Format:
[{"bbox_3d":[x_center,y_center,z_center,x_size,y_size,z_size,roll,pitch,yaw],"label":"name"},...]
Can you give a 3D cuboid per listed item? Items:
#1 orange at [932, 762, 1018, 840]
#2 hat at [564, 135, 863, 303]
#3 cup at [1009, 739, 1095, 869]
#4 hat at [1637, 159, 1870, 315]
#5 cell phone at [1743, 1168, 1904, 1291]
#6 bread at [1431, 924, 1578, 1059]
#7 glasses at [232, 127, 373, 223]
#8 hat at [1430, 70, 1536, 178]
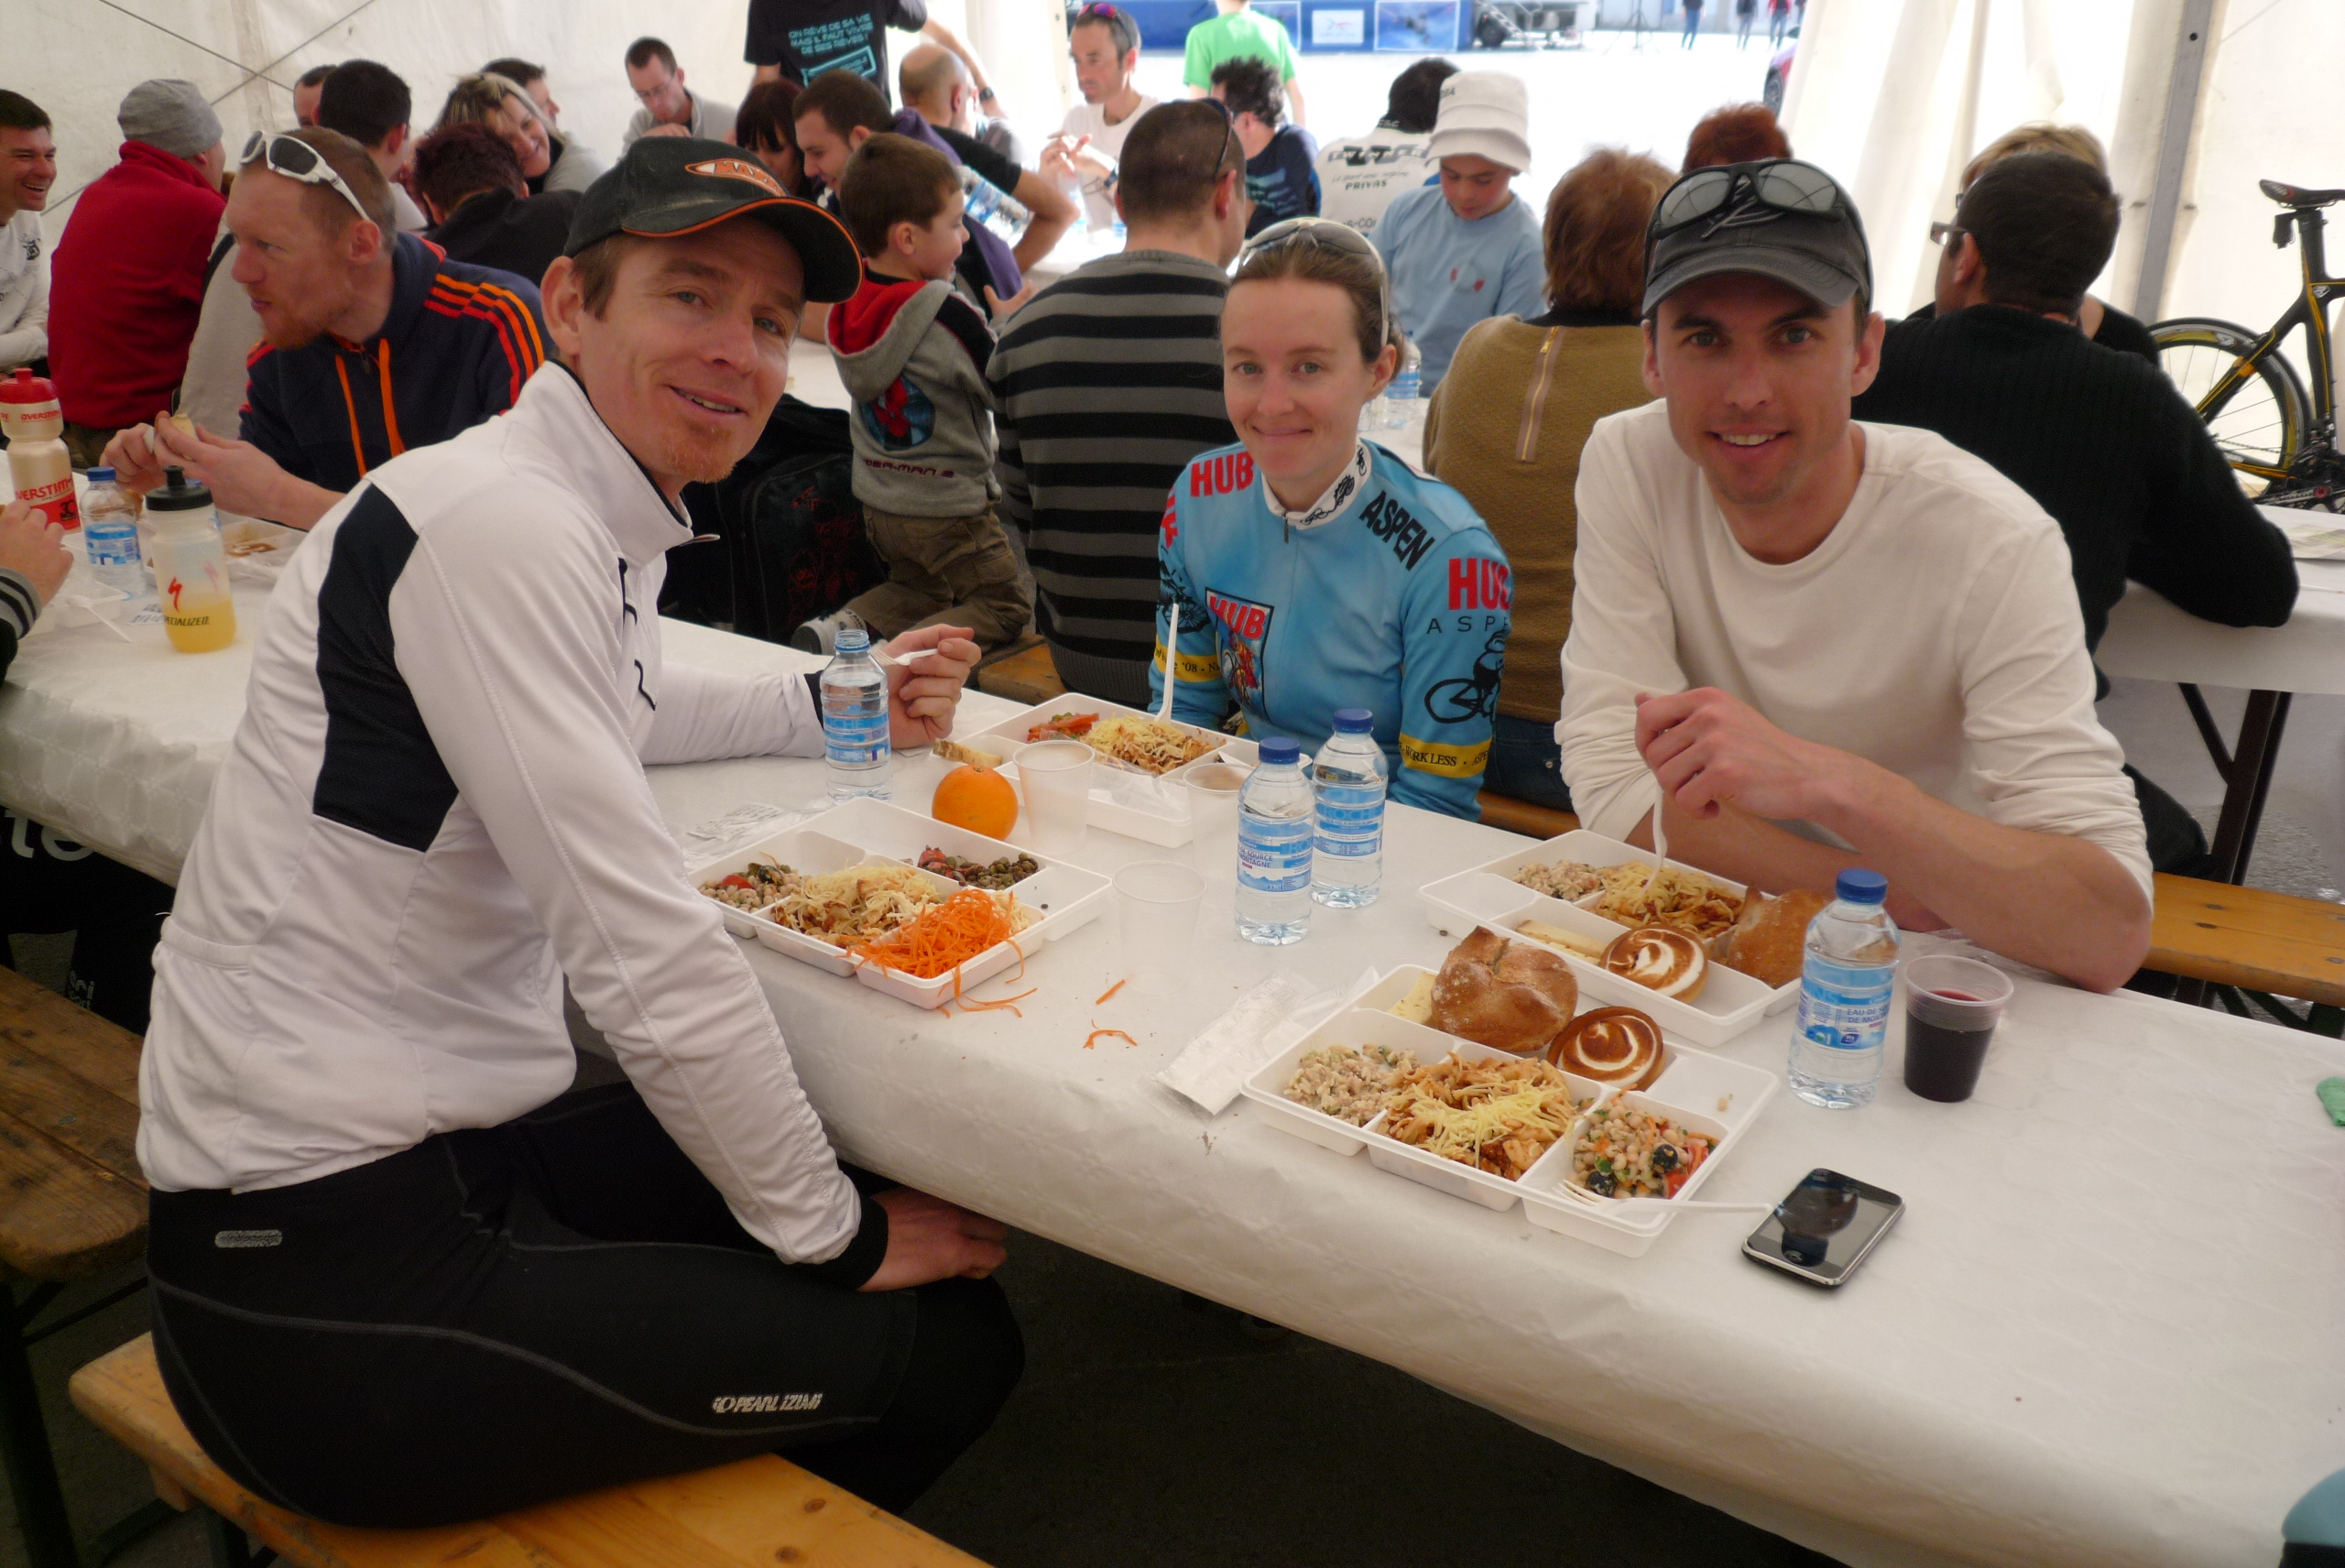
[{"bbox_3d":[-0.317,0.025,2.570,0.127,0.143,0.122,4,14,0],"label":"orange"},{"bbox_3d":[-0.634,-0.775,2.208,0.306,0.134,0.233,9,11,26],"label":"hat"},{"bbox_3d":[-0.196,0.026,2.575,0.170,0.181,0.168,-2,17,1],"label":"cup"},{"bbox_3d":[0.914,-0.823,2.472,0.274,0.156,0.275,2,9,21],"label":"hat"},{"bbox_3d":[0.781,0.536,1.895,0.191,0.065,0.105,-19,26,-41],"label":"cell phone"},{"bbox_3d":[0.447,0.277,2.150,0.168,0.115,0.162,-25,39,-20],"label":"bread"},{"bbox_3d":[-1.992,-1.350,3.632,0.236,0.069,0.241,20,-1,15],"label":"glasses"},{"bbox_3d":[1.069,-2.261,5.375,0.371,0.191,0.280,29,40,34],"label":"hat"}]
